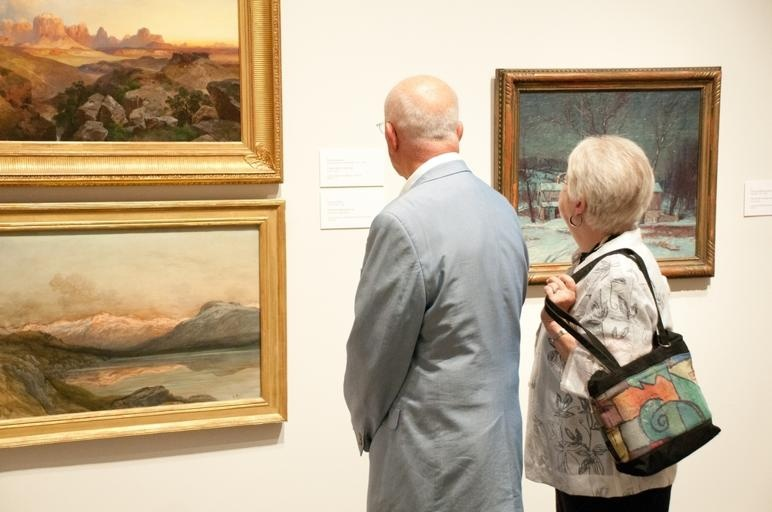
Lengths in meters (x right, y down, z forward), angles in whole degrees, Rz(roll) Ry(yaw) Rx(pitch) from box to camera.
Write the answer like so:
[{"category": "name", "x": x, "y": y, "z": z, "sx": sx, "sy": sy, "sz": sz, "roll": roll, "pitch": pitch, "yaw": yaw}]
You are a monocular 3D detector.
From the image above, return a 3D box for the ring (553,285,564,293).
[{"category": "ring", "x": 0.844, "y": 0.163, "z": 3.435, "sx": 0.033, "sy": 0.035, "sz": 0.036, "roll": -3, "pitch": 1, "yaw": 0}]

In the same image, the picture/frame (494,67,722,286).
[{"category": "picture/frame", "x": 1.224, "y": -0.516, "z": 4.020, "sx": 1.389, "sy": 1.230, "sz": 0.099, "roll": 0, "pitch": 2, "yaw": -5}]
